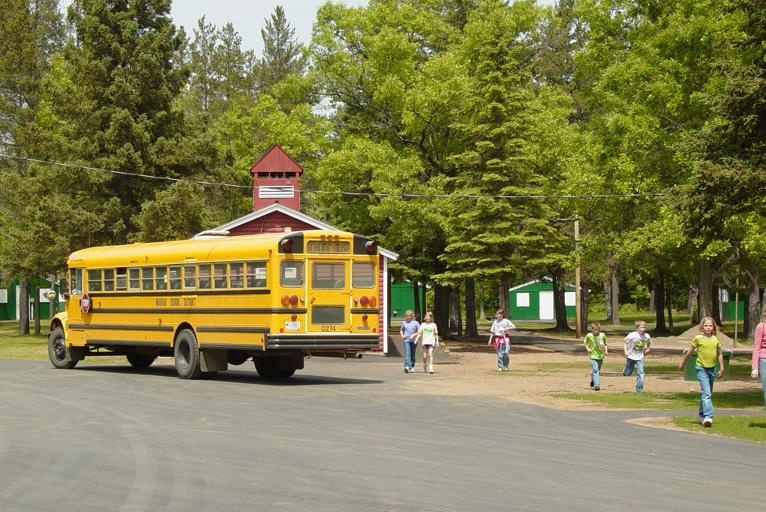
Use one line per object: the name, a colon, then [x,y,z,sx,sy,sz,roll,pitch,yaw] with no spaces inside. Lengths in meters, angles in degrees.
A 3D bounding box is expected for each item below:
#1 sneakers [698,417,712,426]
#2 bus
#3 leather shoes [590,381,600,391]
sneakers: [7.156,3.709,18.831,0.113,0.127,0.307,-3,-17,-2]
bus: [-6.141,1.781,28.220,12.761,4.432,3.174,-4,-6,36]
leather shoes: [6.391,3.919,25.493,0.243,0.238,0.569,-1,-6,13]
